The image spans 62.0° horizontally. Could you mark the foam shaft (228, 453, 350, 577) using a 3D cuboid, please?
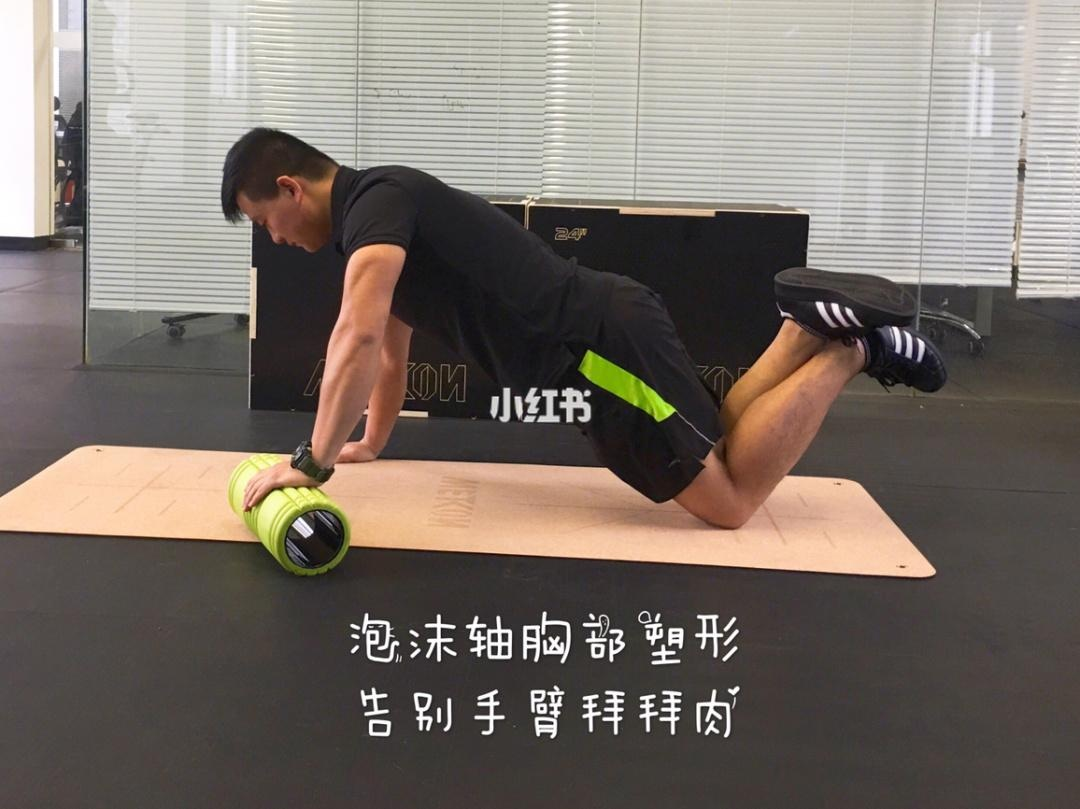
[{"bbox_3d":[-0.735,0.323,2.594,0.219,0.245,0.369,-5,19,-43],"label":"foam shaft"}]

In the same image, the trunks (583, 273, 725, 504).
[{"bbox_3d":[0.369,-0.119,2.729,0.231,0.468,0.378,-27,-11,11],"label":"trunks"}]

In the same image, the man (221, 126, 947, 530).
[{"bbox_3d":[0.075,-0.265,2.924,2.248,1.262,0.992,5,14,8],"label":"man"}]

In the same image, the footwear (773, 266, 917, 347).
[{"bbox_3d":[0.885,-0.306,2.598,0.325,0.185,0.221,4,21,5],"label":"footwear"}]

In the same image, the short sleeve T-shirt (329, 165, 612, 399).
[{"bbox_3d":[-0.223,-0.353,2.611,0.731,0.618,0.338,-3,20,-15],"label":"short sleeve T-shirt"}]
